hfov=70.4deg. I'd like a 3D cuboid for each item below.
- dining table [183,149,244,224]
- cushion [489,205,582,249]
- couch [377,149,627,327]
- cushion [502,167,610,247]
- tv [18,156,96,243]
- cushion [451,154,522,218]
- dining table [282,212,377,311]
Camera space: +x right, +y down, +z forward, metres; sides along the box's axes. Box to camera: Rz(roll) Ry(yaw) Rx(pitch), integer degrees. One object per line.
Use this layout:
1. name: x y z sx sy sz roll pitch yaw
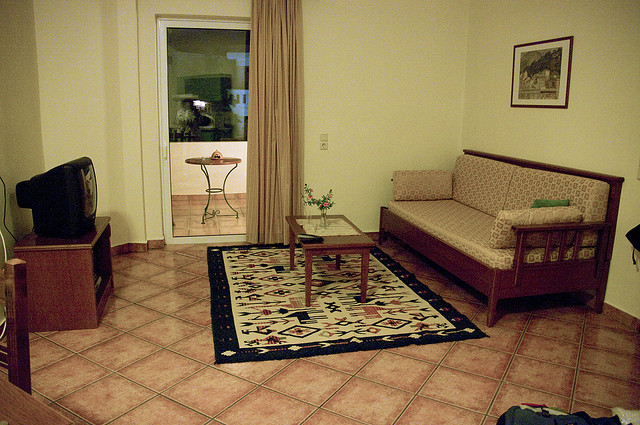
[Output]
1. dining table: -1.792 -0.528 6.732 1.065 1.052 0.967 -4 28 -18
2. cushion: 2.146 0.186 4.516 0.854 0.510 0.276 -3 17 13
3. couch: 1.923 0.071 5.517 1.486 1.255 2.593 -8 17 -17
4. cushion: 2.511 -0.192 4.829 0.769 0.300 1.419 -8 39 24
5. tv: -2.690 -0.228 4.552 0.744 0.803 0.871 0 15 -21
6. cushion: 2.282 -0.381 5.997 0.373 0.665 1.088 -17 28 -35
7. dining table: 0.111 0.482 5.086 0.814 0.815 1.051 -3 14 -12
